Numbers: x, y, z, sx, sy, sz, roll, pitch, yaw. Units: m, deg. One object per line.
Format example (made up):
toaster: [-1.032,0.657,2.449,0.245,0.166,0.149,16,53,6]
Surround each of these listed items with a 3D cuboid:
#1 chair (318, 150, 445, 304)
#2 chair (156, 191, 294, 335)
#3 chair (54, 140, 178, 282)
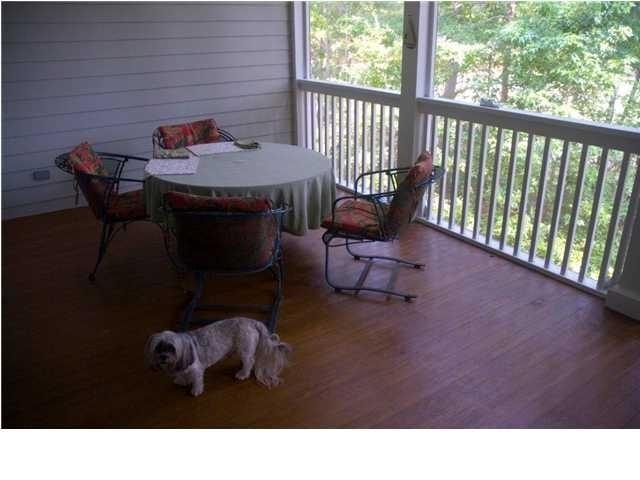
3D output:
chair: [0.424,-0.120,3.678,0.812,0.947,0.823,10,17,29]
chair: [-0.557,-0.009,3.316,0.782,0.925,0.984,2,28,-1]
chair: [-1.601,-0.253,3.846,0.837,0.753,0.655,1,15,-20]
